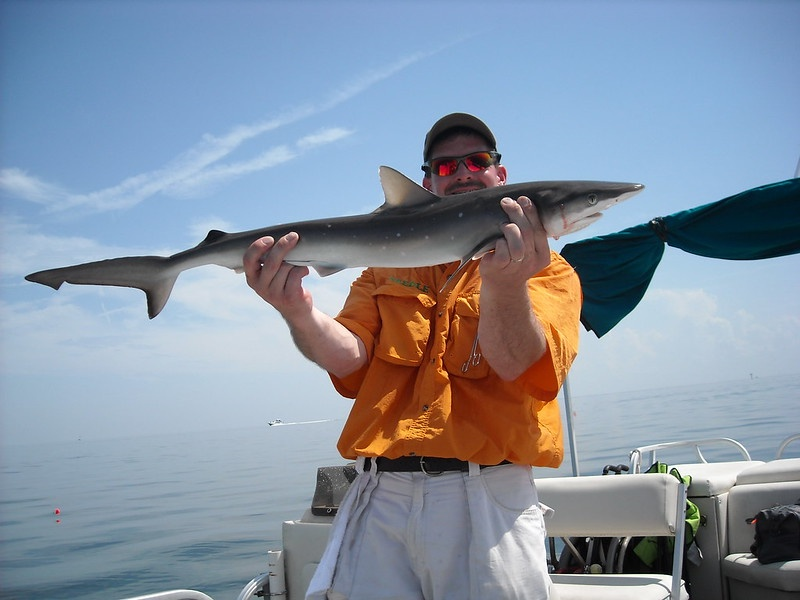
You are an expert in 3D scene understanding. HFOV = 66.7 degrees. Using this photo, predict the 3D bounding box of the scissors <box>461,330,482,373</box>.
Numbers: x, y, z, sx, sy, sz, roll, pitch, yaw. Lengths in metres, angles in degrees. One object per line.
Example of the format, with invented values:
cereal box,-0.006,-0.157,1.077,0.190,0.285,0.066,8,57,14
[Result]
scissors,0.454,0.365,3.720,0.121,0.281,0.016,27,42,28
